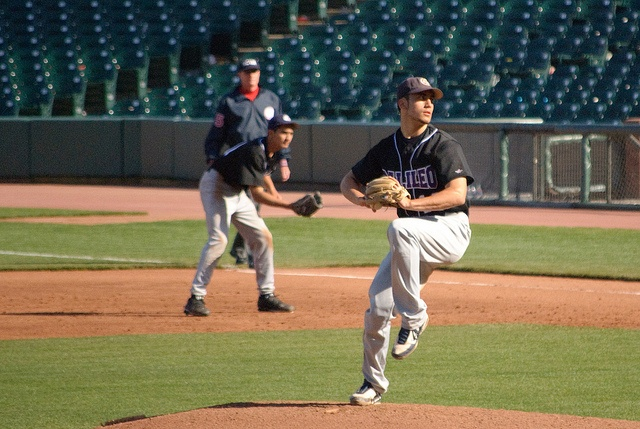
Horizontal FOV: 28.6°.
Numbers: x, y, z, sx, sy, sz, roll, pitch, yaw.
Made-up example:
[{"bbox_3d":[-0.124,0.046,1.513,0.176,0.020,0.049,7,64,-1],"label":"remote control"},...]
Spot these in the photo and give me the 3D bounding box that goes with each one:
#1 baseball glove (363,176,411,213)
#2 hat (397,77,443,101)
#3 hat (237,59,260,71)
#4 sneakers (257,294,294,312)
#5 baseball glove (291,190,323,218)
[{"bbox_3d":[0.987,-0.330,18.835,0.674,0.521,0.264,0,1,5],"label":"baseball glove"},{"bbox_3d":[1.480,-1.920,18.888,0.517,0.234,0.376,-2,1,35],"label":"hat"},{"bbox_3d":[-1.258,-2.620,21.827,0.339,0.251,0.436,0,1,-6],"label":"hat"},{"bbox_3d":[-0.774,1.465,20.793,0.638,0.262,0.242,-1,-1,3],"label":"sneakers"},{"bbox_3d":[-0.217,-0.171,20.114,0.512,0.303,0.184,-27,5,13],"label":"baseball glove"}]
